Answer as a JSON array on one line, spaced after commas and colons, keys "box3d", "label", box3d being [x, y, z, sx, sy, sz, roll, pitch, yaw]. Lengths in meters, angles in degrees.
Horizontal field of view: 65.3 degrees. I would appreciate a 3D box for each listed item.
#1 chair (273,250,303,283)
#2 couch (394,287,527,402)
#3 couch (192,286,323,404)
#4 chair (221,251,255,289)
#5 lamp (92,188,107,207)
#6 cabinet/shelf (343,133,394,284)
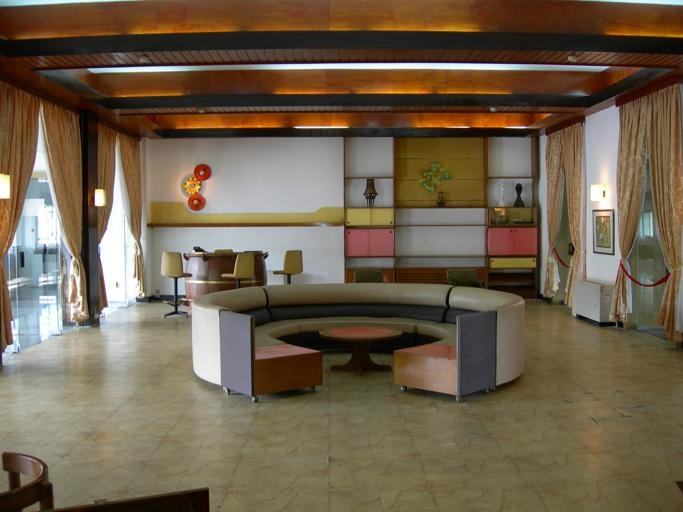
[{"box3d": [-1.042, 0.226, 10.908, 0.465, 0.714, 0.731, -1, 6, 2], "label": "chair"}, {"box3d": [1.300, 0.613, 5.786, 1.144, 0.654, 1.830, 2, 3, 21], "label": "couch"}, {"box3d": [-0.965, 0.682, 5.767, 1.095, 0.639, 1.752, -2, 5, -10], "label": "couch"}, {"box3d": [-1.862, 0.240, 9.936, 0.416, 0.637, 0.664, 4, 8, 34], "label": "chair"}, {"box3d": [-4.285, -1.036, 9.435, 0.160, 0.347, 0.592, -3, 6, -19], "label": "lamp"}, {"box3d": [0.620, -1.056, 11.969, 1.154, 3.217, 0.592, -1, 7, 0], "label": "cabinet/shelf"}]
